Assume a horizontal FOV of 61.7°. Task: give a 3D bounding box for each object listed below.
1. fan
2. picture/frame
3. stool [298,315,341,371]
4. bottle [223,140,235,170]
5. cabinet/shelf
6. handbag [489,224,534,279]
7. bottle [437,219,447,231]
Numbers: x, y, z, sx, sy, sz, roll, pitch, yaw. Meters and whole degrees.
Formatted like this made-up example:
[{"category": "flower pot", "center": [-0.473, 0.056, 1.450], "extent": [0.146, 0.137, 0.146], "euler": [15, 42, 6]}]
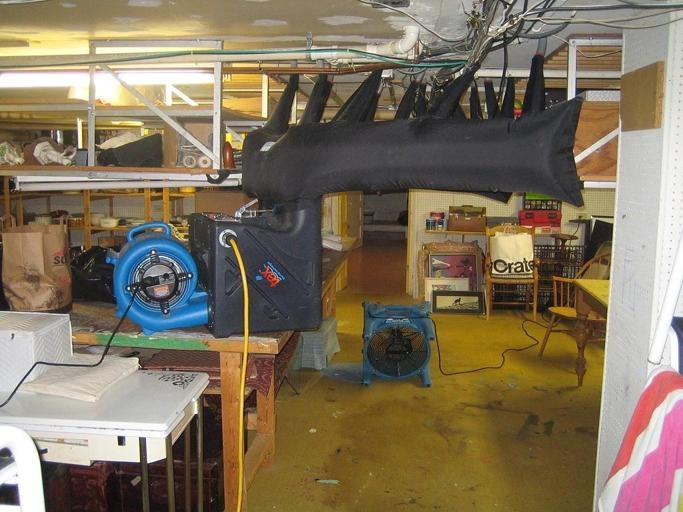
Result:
[{"category": "fan", "center": [0.488, 0.735, 5.387], "extent": [0.788, 0.879, 0.673], "euler": [0, 9, 4]}, {"category": "picture/frame", "center": [1.494, 0.335, 7.565], "extent": [1.035, 1.199, 0.128], "euler": [1, -33, 0]}, {"category": "stool", "center": [-0.201, 0.850, 5.481], "extent": [0.465, 0.664, 0.310], "euler": [-2, -32, 11]}, {"category": "bottle", "center": [-0.730, -0.656, 3.732], "extent": [0.072, 0.168, 0.191], "euler": [-3, 15, -11]}, {"category": "cabinet/shelf", "center": [-1.833, -1.025, 4.897], "extent": [2.063, 1.347, 3.459], "euler": [-3, 14, -13]}, {"category": "handbag", "center": [2.193, -0.006, 7.352], "extent": [0.570, 0.617, 0.357], "euler": [-2, -11, 18]}, {"category": "bottle", "center": [1.396, -0.420, 7.880], "extent": [0.152, 0.235, 0.147], "euler": [1, 4, 0]}]
